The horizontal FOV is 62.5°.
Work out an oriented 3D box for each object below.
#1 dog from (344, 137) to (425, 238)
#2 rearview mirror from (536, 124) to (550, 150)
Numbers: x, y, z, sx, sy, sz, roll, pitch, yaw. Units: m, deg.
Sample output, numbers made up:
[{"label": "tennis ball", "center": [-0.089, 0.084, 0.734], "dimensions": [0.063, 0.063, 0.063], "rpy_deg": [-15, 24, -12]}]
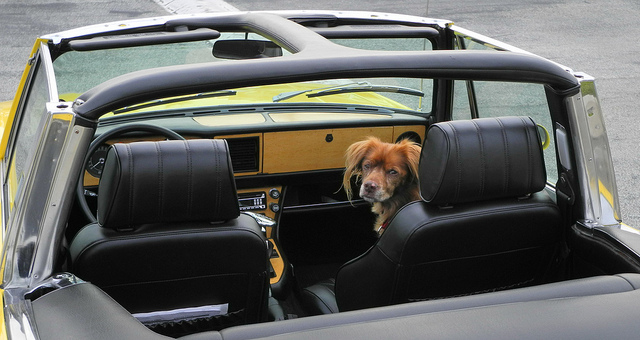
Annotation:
[{"label": "dog", "center": [0.563, 0.186, 4.468], "dimensions": [0.757, 0.851, 0.636], "rpy_deg": [10, 8, 29]}, {"label": "rearview mirror", "center": [1.551, -0.233, 3.606], "dimensions": [0.061, 0.138, 0.131], "rpy_deg": [10, -14, -32]}]
